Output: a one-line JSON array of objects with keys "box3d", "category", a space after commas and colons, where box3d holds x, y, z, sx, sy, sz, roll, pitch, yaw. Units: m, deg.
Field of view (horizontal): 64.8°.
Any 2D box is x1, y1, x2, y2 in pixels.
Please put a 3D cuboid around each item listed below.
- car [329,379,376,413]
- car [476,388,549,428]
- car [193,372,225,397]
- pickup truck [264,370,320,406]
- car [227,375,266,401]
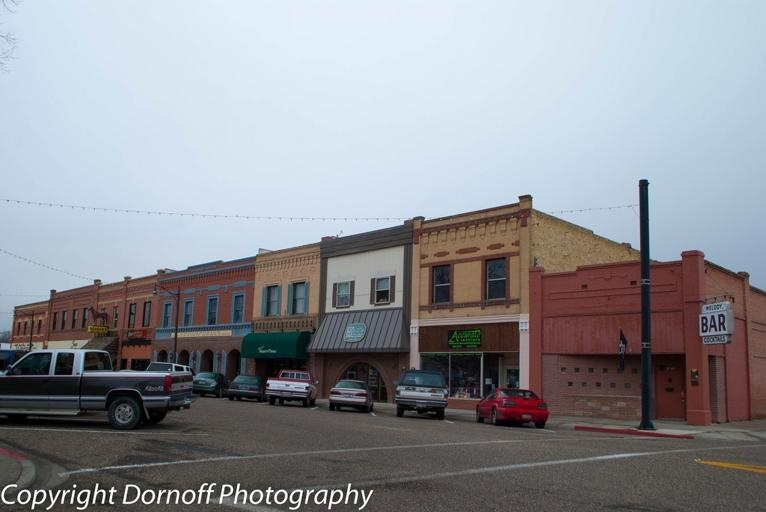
[{"box3d": [-1.686, 7.269, 31.274, 2.036, 1.594, 1.183, -5, -18, 19], "category": "car"}, {"box3d": [5.298, 6.487, 25.994, 1.606, 0.991, 2.959, 3, -7, -7], "category": "car"}, {"box3d": [-11.034, 8.167, 38.231, 1.374, 1.020, 3.095, 1, -10, 11], "category": "car"}, {"box3d": [-4.873, 7.627, 34.654, 1.562, 1.249, 3.232, -1, -17, 9], "category": "pickup truck"}, {"box3d": [-8.142, 8.170, 37.124, 1.275, 0.941, 2.857, 1, -6, 10], "category": "car"}]
